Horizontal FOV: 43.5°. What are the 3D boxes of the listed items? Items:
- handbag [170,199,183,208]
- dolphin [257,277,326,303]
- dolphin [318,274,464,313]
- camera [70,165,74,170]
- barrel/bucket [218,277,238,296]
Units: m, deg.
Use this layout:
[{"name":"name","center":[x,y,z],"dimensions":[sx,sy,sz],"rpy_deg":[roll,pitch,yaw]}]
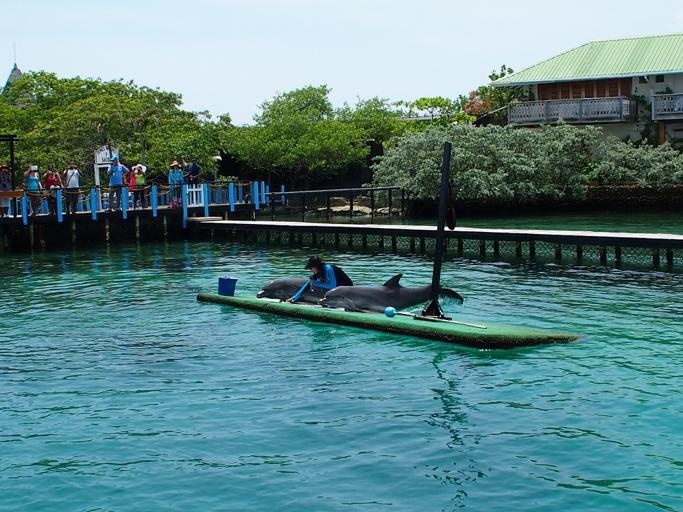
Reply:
[{"name":"handbag","center":[-7.564,-2.414,38.931],"dimensions":[0.649,0.401,0.143],"rpy_deg":[7,-4,-10]},{"name":"dolphin","center":[-1.188,0.847,20.819],"dimensions":[1.894,0.406,1.567],"rpy_deg":[-3,8,-40]},{"name":"dolphin","center":[0.775,0.816,19.444],"dimensions":[2.523,0.793,0.829],"rpy_deg":[-2,14,-4]},{"name":"camera","center":[-10.721,-3.573,34.008],"dimensions":[0.147,0.113,0.158],"rpy_deg":[-10,-13,-12]},{"name":"barrel/bucket","center":[-2.921,0.779,21.880],"dimensions":[0.649,0.415,0.447],"rpy_deg":[5,-2,0]}]
